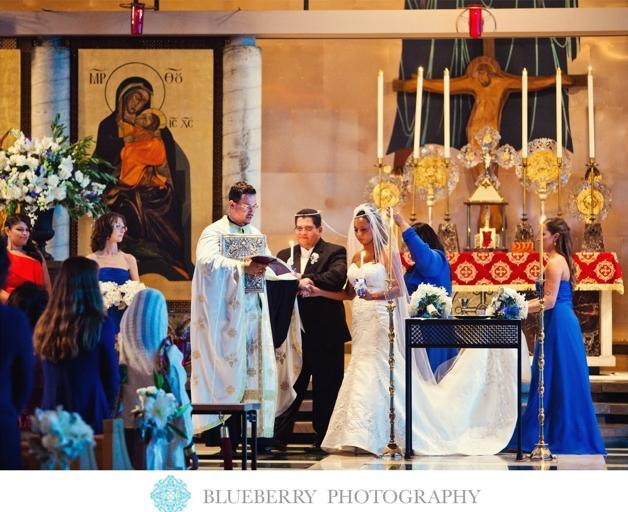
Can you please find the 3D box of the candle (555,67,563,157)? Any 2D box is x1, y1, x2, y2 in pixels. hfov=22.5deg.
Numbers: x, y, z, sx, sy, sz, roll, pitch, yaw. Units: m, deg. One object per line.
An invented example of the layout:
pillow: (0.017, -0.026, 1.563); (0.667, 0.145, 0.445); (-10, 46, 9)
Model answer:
candle: (2.130, -1.168, 13.589); (0.050, 0.546, 0.047); (3, 6, 39)

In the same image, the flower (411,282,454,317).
flower: (1.034, 0.441, 13.590); (0.291, 0.299, 0.297); (-9, -20, 38)

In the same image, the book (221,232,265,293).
book: (-0.633, 0.080, 13.948); (0.493, 0.642, 0.067); (-1, -4, 1)

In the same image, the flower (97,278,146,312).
flower: (-1.676, 0.343, 13.641); (0.345, 0.205, 0.353); (-1, 3, -37)

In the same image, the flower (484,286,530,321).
flower: (1.659, 0.433, 13.451); (0.356, 0.289, 0.370); (-2, -5, 8)

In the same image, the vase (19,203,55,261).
vase: (-2.404, -0.203, 14.146); (0.393, 0.586, 0.391); (1, -2, 6)

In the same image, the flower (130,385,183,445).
flower: (-1.127, 1.193, 11.708); (0.419, 0.394, 0.199); (3, -6, -41)

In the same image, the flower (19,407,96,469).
flower: (-1.853, 1.349, 11.363); (0.439, 0.479, 0.472); (1, -3, -1)

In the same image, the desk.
desk: (1.249, 1.140, 13.581); (1.062, 1.437, 1.344); (-1, -2, 10)

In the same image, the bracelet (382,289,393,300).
bracelet: (0.651, 0.356, 13.728); (0.091, 0.092, 0.087); (-4, -6, 7)

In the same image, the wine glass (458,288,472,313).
wine glass: (1.416, 0.430, 14.455); (0.203, 0.264, 0.226); (0, -3, -1)

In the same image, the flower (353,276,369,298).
flower: (0.398, 0.298, 13.703); (0.154, 0.153, 0.112); (0, 1, 30)

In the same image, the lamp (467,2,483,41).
lamp: (1.621, -2.328, 15.643); (0.130, 0.327, 0.259); (-2, -5, 5)
